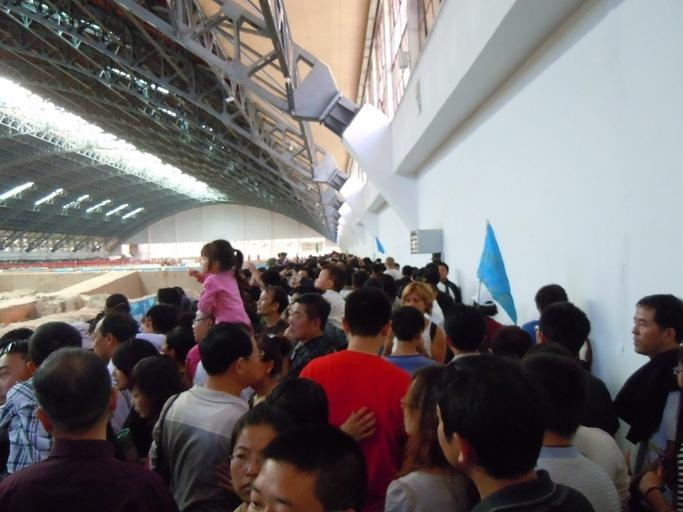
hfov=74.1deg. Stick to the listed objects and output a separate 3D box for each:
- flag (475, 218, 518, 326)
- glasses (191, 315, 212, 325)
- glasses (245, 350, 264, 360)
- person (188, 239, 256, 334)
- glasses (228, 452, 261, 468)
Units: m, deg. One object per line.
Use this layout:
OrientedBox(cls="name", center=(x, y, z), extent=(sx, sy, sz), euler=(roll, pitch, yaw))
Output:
OrientedBox(cls="flag", center=(1.356, 0.111, 3.959), extent=(0.243, 0.884, 0.605), euler=(1, -3, -3))
OrientedBox(cls="glasses", center=(-1.103, 0.488, 3.561), extent=(0.193, 0.060, 0.074), euler=(-2, -4, 40))
OrientedBox(cls="glasses", center=(-0.438, 0.508, 2.293), extent=(0.070, 0.026, 0.075), euler=(-3, -3, -6))
OrientedBox(cls="person", center=(-0.985, 0.465, 3.751), extent=(0.454, 1.151, 0.459), euler=(-1, -3, -17))
OrientedBox(cls="glasses", center=(-0.358, 0.768, 1.728), extent=(0.064, 0.045, 0.093), euler=(3, -4, 1))
